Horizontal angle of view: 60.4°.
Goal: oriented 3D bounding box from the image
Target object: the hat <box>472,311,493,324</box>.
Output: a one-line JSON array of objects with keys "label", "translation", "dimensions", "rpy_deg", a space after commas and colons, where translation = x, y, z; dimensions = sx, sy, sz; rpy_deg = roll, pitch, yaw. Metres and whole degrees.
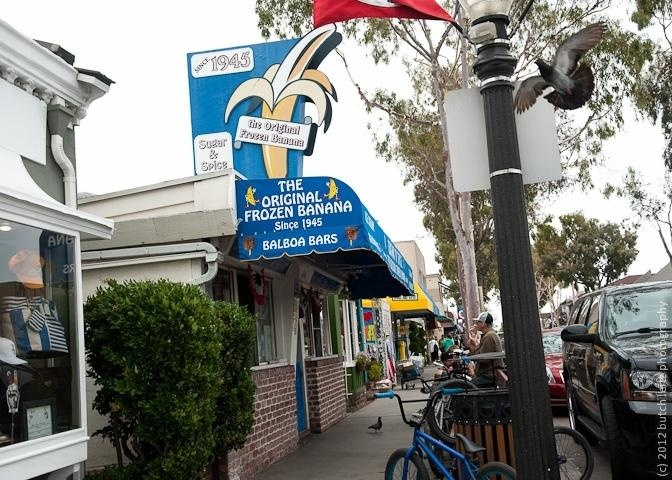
[{"label": "hat", "translation": [2.626, 1.385, 10.196], "dimensions": [0.226, 0.163, 0.171], "rpy_deg": [16, -4, 23]}]

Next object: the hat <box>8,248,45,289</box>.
[{"label": "hat", "translation": [-3.140, 0.303, 5.845], "dimensions": [0.083, 0.364, 0.390], "rpy_deg": [-8, -11, 21]}]
